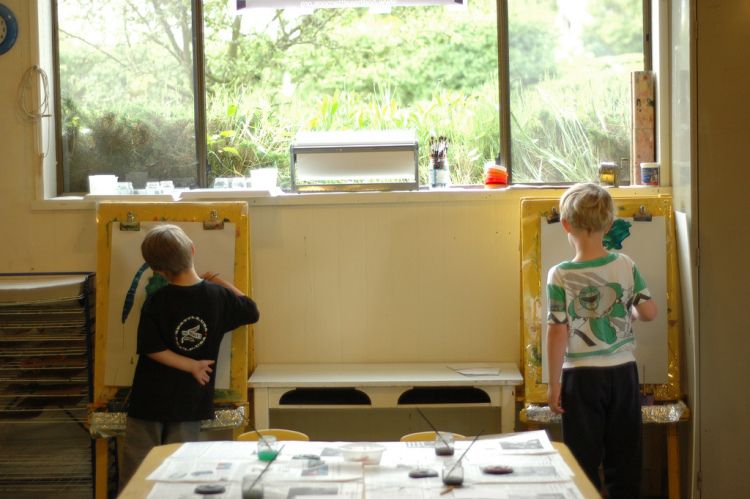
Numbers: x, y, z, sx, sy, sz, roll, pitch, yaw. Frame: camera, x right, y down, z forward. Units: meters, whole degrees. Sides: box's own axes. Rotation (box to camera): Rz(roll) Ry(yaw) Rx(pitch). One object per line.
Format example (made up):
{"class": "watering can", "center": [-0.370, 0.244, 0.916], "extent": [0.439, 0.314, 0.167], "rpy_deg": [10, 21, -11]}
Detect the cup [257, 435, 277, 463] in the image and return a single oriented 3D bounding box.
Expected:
{"class": "cup", "center": [-0.540, 1.016, 3.588], "extent": [0.125, 0.120, 0.116], "rpy_deg": [0, 2, 0]}

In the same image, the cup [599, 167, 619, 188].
{"class": "cup", "center": [1.605, -0.504, 4.892], "extent": [0.126, 0.167, 0.133], "rpy_deg": [0, -3, 0]}

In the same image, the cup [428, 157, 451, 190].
{"class": "cup", "center": [0.459, -0.539, 4.975], "extent": [0.181, 0.311, 0.201], "rpy_deg": [-1, 5, 4]}

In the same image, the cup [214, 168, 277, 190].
{"class": "cup", "center": [-0.879, -0.489, 5.005], "extent": [0.240, 0.104, 0.244], "rpy_deg": [-1, 2, 0]}

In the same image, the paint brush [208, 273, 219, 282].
{"class": "paint brush", "center": [-1.033, 0.176, 4.486], "extent": [0.047, 0.045, 0.047], "rpy_deg": [2, 0, 23]}

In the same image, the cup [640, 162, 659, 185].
{"class": "cup", "center": [1.883, -0.520, 4.783], "extent": [0.137, 0.146, 0.137], "rpy_deg": [-1, 2, 0]}

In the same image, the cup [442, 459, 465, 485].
{"class": "cup", "center": [0.386, 1.083, 3.432], "extent": [0.109, 0.106, 0.110], "rpy_deg": [-2, 1, 0]}

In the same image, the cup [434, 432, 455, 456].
{"class": "cup", "center": [0.355, 1.000, 3.606], "extent": [0.108, 0.107, 0.108], "rpy_deg": [0, 4, 0]}
